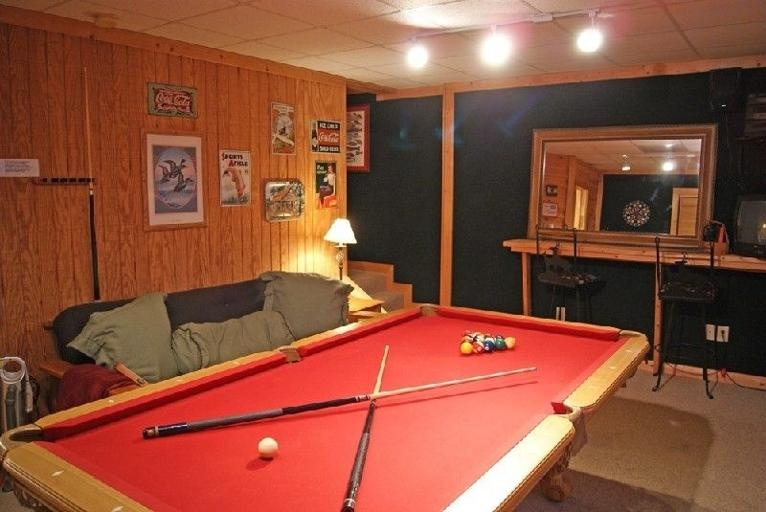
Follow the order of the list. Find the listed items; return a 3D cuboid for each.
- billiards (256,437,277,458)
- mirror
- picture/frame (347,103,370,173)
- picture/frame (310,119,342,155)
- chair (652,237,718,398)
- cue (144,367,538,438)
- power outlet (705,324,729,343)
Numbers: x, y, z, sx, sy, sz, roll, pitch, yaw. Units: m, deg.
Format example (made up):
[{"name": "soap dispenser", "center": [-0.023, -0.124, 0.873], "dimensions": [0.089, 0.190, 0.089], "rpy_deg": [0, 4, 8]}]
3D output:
[{"name": "billiards", "center": [-0.594, 0.995, 2.986], "dimensions": [0.106, 0.087, 0.086], "rpy_deg": [7, -22, 28]}, {"name": "mirror", "center": [2.710, -0.753, 6.262], "dimensions": [1.468, 1.032, 0.068], "rpy_deg": [4, 8, 30]}, {"name": "picture/frame", "center": [-0.340, -1.588, 7.851], "dimensions": [0.371, 0.880, 0.093], "rpy_deg": [6, 13, 26]}, {"name": "picture/frame", "center": [-0.680, -1.354, 6.601], "dimensions": [0.064, 0.318, 0.449], "rpy_deg": [8, 11, 41]}, {"name": "chair", "center": [3.078, 0.589, 5.846], "dimensions": [0.659, 1.488, 0.829], "rpy_deg": [5, 13, 25]}, {"name": "cue", "center": [-0.160, 0.855, 3.400], "dimensions": [2.403, 0.095, 0.063], "rpy_deg": [-7, -27, -17]}, {"name": "power outlet", "center": [3.490, 0.808, 5.951], "dimensions": [0.211, 0.198, 0.110], "rpy_deg": [-3, 2, 30]}]
